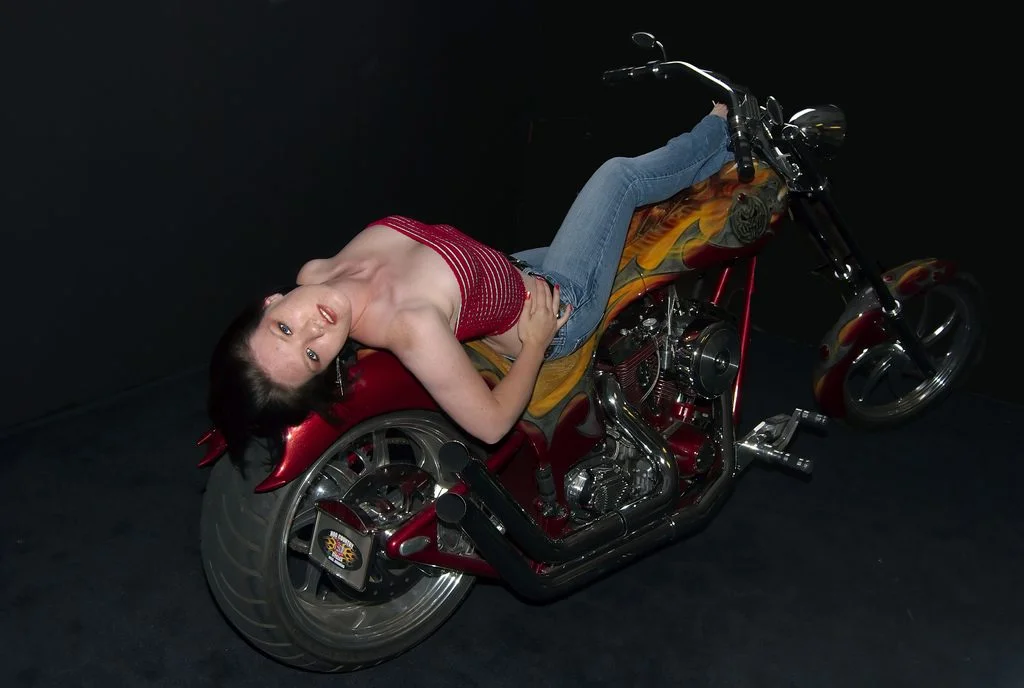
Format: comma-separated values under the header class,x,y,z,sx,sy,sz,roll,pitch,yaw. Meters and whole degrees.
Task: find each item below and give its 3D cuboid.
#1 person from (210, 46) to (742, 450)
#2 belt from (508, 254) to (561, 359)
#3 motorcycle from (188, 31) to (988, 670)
class,x,y,z,sx,sy,sz,roll,pitch,yaw
person,-0.121,-0.200,2.969,1.876,0.732,0.889,-44,56,-5
belt,0.112,-0.159,3.222,0.098,0.401,0.266,-13,19,-40
motorcycle,0.457,0.041,3.669,3.237,1.952,1.274,-27,35,-23
